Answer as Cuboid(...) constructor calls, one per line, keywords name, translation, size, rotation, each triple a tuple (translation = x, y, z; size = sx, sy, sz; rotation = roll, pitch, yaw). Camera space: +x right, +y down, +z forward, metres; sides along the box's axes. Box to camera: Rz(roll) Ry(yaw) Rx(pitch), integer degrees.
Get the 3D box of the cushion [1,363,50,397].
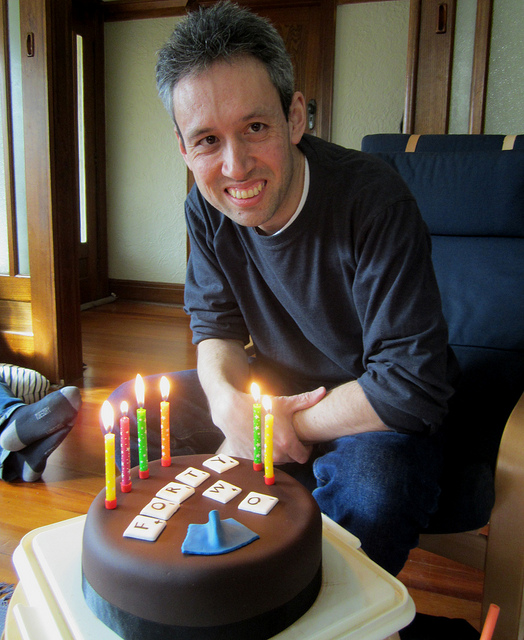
Cuboid(name="cushion", translation=(-0.887, 0.236, 2.098), size=(0.126, 0.063, 0.129), rotation=(10, 12, -33))
